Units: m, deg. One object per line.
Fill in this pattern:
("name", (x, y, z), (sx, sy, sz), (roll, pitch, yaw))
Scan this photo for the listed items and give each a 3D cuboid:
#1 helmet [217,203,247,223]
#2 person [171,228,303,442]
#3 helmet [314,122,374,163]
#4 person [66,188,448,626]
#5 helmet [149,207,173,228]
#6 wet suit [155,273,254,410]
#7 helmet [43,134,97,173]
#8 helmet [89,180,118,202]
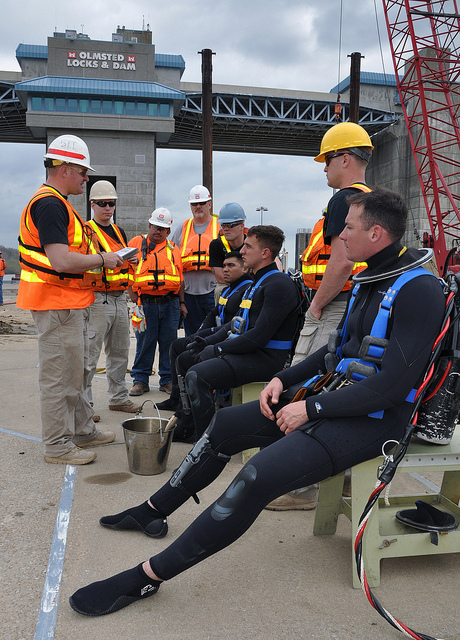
("helmet", (0.015, -0.966, 5.691), (0.229, 0.171, 0.181), (1, 10, 4))
("person", (0.013, 0.138, 4.420), (0.958, 1.579, 0.707), (4, 4, 2))
("helmet", (0.711, -1.101, 3.837), (0.381, 0.192, 0.302), (-4, 11, 5))
("person", (0.093, 0.303, 2.798), (1.643, 1.750, 0.763), (-1, 12, -13))
("helmet", (-0.772, -1.130, 6.980), (0.242, 0.206, 0.424), (-1, 10, -8))
("wet suit", (-0.147, 0.109, 5.275), (0.754, 1.375, 0.511), (1, 8, -17))
("helmet", (-1.107, -1.154, 4.286), (0.320, 0.231, 0.288), (-5, 12, -30))
("helmet", (-1.175, -1.190, 5.784), (0.194, 0.121, 0.240), (-8, 15, -32))
